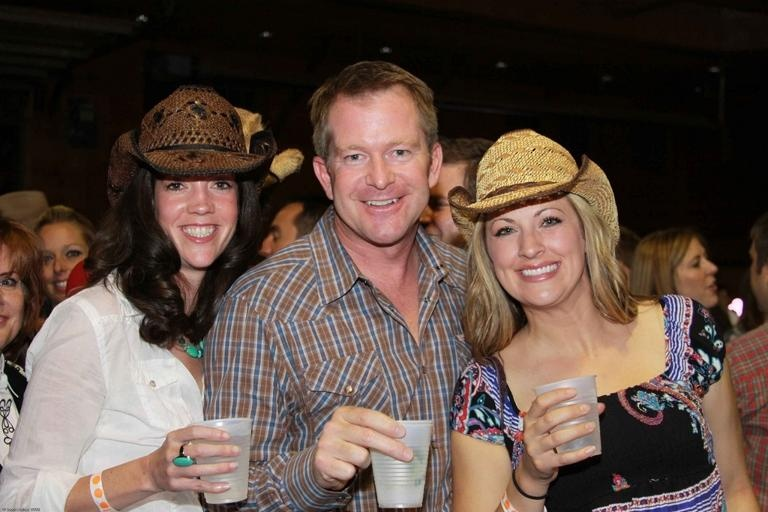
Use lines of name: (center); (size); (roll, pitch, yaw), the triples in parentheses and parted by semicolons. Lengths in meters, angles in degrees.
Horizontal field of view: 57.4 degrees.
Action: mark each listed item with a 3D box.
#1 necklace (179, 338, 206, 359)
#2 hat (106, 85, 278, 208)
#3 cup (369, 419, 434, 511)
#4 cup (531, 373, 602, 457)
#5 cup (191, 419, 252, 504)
necklace: (-1.006, 0.492, 3.710); (0.112, 0.103, 0.042); (5, -44, -29)
hat: (-1.038, -0.590, 3.674); (0.592, 0.368, 0.739); (-1, -2, -6)
cup: (0.137, 0.956, 3.246); (0.381, 0.370, 0.373); (1, -8, 0)
cup: (0.824, 0.738, 3.157); (0.281, 0.357, 0.325); (-9, -21, -15)
cup: (-0.716, 0.926, 3.135); (0.230, 0.388, 0.174); (1, -7, -14)
